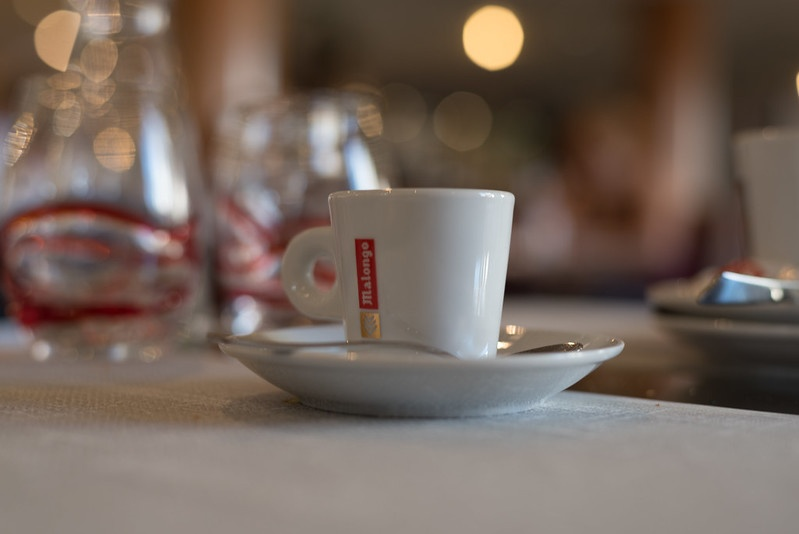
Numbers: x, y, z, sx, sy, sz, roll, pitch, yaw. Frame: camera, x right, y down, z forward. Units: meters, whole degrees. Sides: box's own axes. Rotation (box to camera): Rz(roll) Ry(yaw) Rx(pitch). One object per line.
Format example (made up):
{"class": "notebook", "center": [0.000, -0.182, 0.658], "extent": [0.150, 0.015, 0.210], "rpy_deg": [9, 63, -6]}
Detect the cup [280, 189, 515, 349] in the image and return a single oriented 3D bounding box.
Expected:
{"class": "cup", "center": [0.008, 0.005, 0.590], "extent": [0.157, 0.120, 0.126], "rpy_deg": [-1, -2, 6]}
